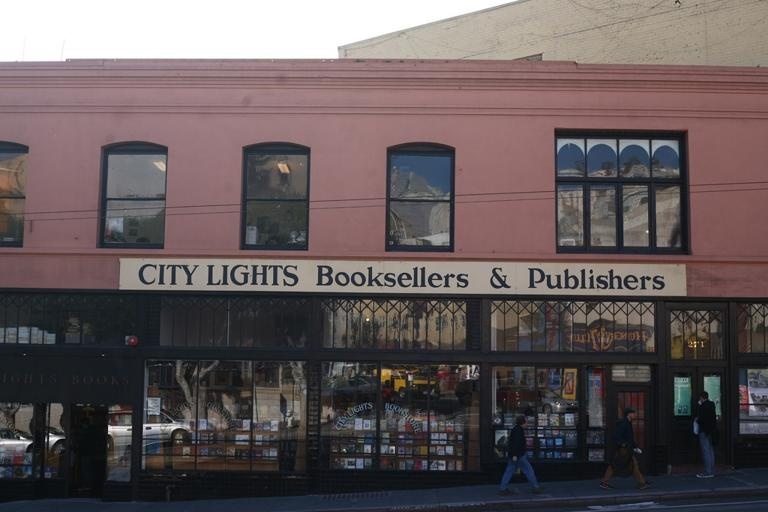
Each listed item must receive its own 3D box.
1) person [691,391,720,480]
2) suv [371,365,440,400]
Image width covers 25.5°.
[{"bbox_3d":[9.097,5.025,47.956,0.672,2.444,0.733,-3,-12,10],"label":"person"},{"bbox_3d":[0.514,3.582,48.916,2.163,0.991,0.771,1,-4,1],"label":"suv"}]
